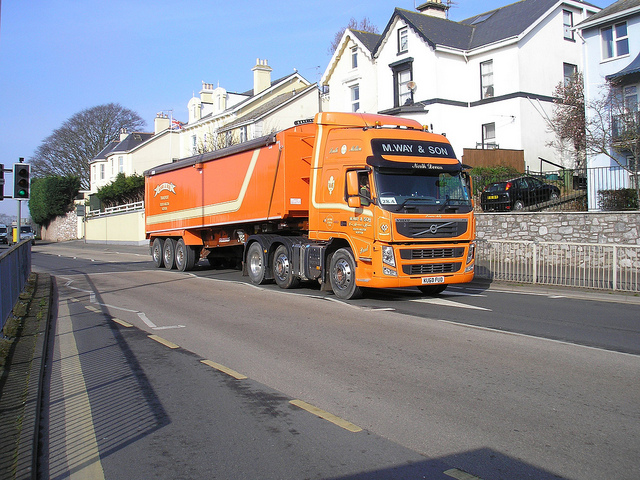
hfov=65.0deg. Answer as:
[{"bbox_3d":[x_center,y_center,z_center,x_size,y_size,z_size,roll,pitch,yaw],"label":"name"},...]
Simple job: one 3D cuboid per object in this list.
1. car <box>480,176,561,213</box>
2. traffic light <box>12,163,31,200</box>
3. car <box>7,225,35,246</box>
[{"bbox_3d":[9.692,-2.024,24.103,2.839,1.141,1.614,-17,10,-29],"label":"car"},{"bbox_3d":[-9.847,-1.929,16.560,0.475,1.203,0.663,-3,4,-32],"label":"traffic light"},{"bbox_3d":[-23.090,-0.317,38.567,1.889,1.991,3.395,0,-4,-34],"label":"car"}]
